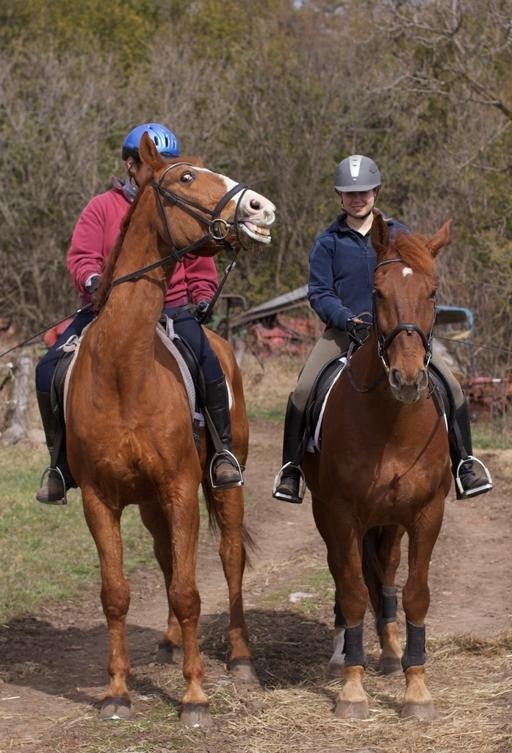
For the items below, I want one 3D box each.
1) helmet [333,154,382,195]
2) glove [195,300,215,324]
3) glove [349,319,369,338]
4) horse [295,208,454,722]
[{"bbox_3d":[0.637,-1.288,6.120,0.272,0.248,0.242,0,3,4],"label":"helmet"},{"bbox_3d":[-0.329,-0.423,6.278,0.142,0.153,0.140,-2,38,-1],"label":"glove"},{"bbox_3d":[0.605,-0.284,5.702,0.106,0.110,0.056,-2,-1,18],"label":"glove"},{"bbox_3d":[0.697,0.473,5.421,0.779,2.771,1.537,0,3,3],"label":"horse"}]
